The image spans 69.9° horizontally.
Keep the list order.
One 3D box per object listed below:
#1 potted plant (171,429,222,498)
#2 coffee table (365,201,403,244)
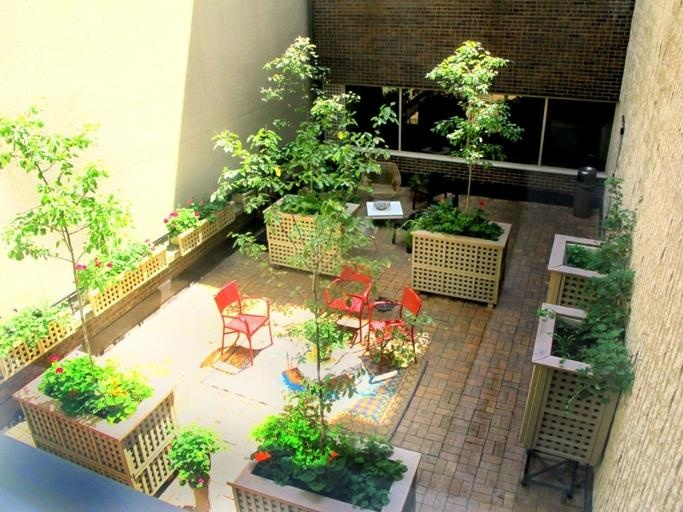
[{"bbox_3d":[-1.731,2.476,5.741,0.522,1.063,0.515,-7,25,-27],"label":"potted plant"},{"bbox_3d":[0.993,-0.973,11.456,0.912,0.912,0.965,3,55,2],"label":"coffee table"}]
